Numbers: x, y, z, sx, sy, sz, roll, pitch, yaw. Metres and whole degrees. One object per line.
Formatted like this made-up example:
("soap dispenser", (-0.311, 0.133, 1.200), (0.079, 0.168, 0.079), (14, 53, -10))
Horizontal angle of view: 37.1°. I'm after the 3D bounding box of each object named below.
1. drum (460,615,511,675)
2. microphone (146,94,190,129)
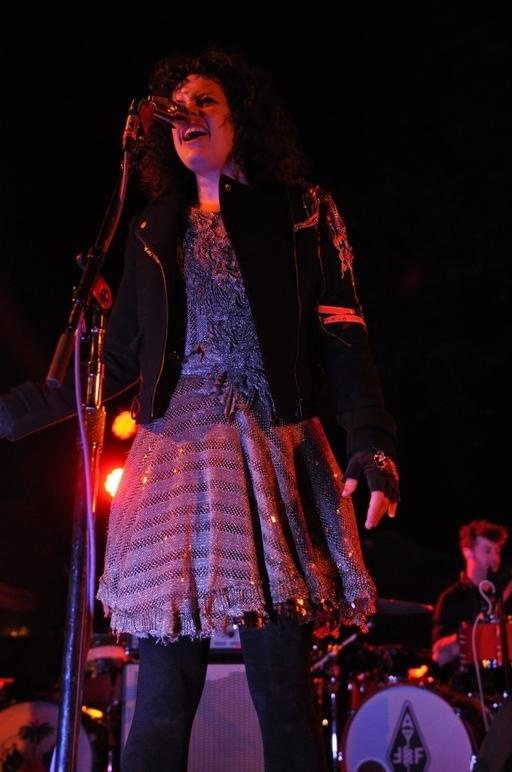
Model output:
("drum", (1.088, 1.232, 3.686), (0.191, 0.212, 0.136), (-2, -32, 3))
("microphone", (-0.187, -0.580, 1.613), (0.093, 0.061, 0.039), (3, 7, -45))
